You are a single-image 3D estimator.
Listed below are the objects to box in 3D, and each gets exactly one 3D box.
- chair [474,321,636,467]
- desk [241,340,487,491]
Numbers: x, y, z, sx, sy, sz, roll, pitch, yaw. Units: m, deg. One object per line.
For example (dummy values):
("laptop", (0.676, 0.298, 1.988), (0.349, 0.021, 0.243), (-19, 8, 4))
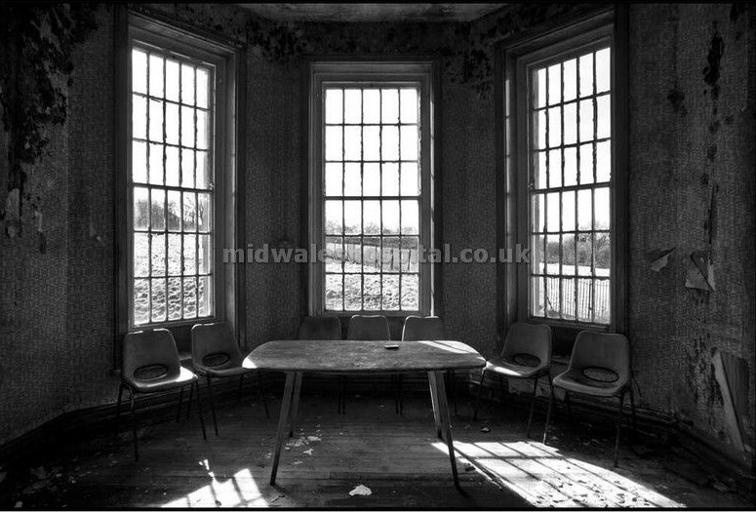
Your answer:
("chair", (1.917, 1.280, 5.645), (1.451, 1.040, 0.844), (7, 13, 36))
("desk", (-0.116, 1.453, 5.300), (2.217, 1.089, 1.253), (1, 4, -10))
